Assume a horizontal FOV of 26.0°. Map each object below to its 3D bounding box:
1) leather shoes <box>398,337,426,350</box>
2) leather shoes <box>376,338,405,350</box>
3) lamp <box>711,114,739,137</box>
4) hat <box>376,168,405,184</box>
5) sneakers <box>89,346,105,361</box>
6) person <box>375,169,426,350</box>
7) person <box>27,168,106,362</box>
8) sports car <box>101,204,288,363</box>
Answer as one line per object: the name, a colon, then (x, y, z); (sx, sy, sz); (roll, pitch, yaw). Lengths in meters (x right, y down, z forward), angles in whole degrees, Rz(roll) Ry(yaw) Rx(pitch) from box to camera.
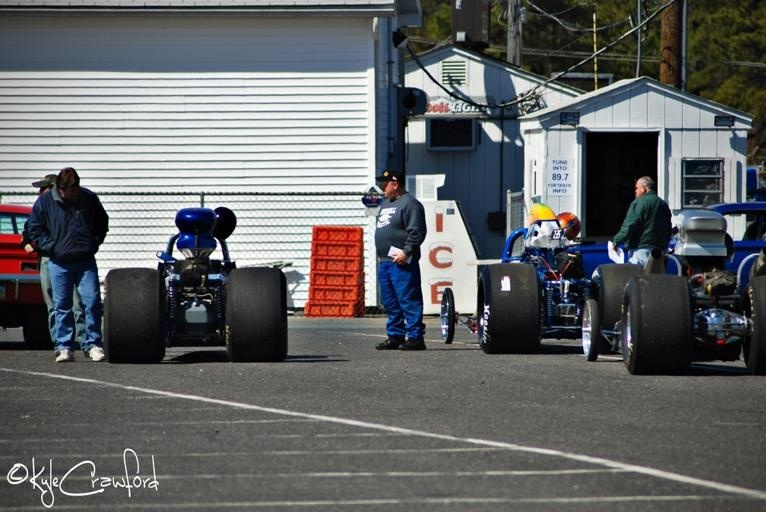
leather shoes: (0.500, 1.411, 27.345); (0.392, 0.269, 0.182); (4, 0, 1)
leather shoes: (0.142, 1.411, 27.336); (0.499, 0.214, 0.183); (4, 0, -5)
lamp: (7.193, -2.823, 34.932); (0.625, 0.426, 0.211); (4, 5, -3)
hat: (0.115, -1.359, 27.460); (0.395, 0.197, 0.280); (0, 1, 6)
sneakers: (-4.507, 1.500, 26.028); (0.154, 0.168, 0.359); (0, -1, -42)
person: (0.300, 0.051, 27.296); (0.820, 2.814, 0.904); (0, 15, -1)
person: (-4.846, 0.117, 25.912); (1.131, 2.950, 0.880); (-3, 15, -9)
sports car: (-2.893, 0.450, 25.912); (2.774, 2.278, 1.098); (0, 15, -1)
